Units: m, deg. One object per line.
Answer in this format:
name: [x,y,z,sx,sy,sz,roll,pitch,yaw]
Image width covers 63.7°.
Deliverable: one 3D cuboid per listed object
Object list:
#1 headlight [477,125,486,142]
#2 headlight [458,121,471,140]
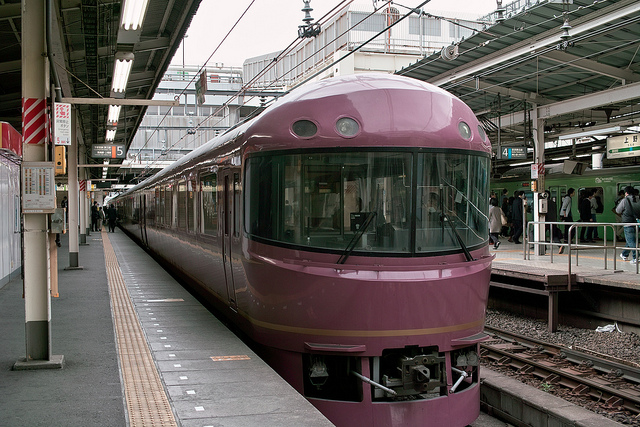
headlight: [2.476,-1.221,7.869,0.098,0.268,0.179,1,1,36]
headlight: [2.101,-1.209,7.649,0.231,0.248,0.053,-15,-4,-41]
